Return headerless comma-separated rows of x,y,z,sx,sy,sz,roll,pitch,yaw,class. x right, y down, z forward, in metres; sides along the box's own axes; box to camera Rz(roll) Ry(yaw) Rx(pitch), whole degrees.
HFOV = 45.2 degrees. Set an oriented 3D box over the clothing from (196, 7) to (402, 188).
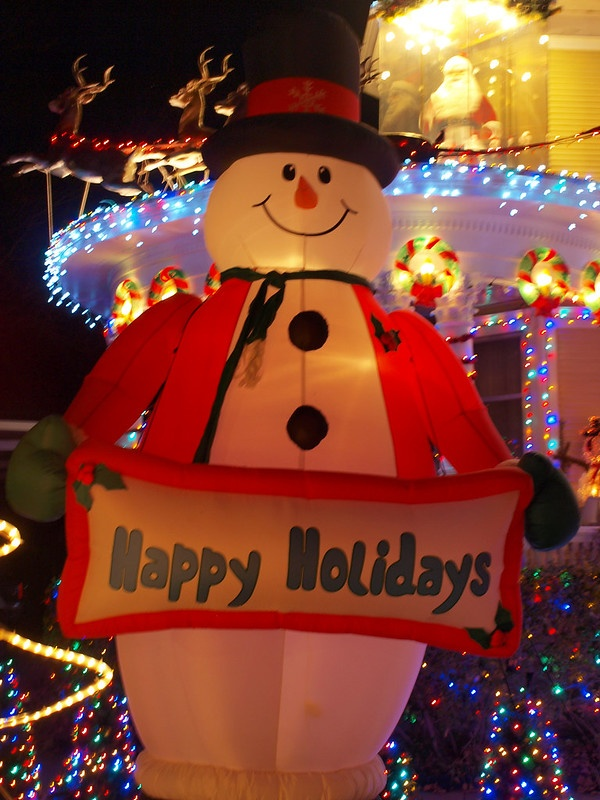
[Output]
-0.002,-1.009,2.661,0.613,0.385,0.577,1,-5,-1,clothing
